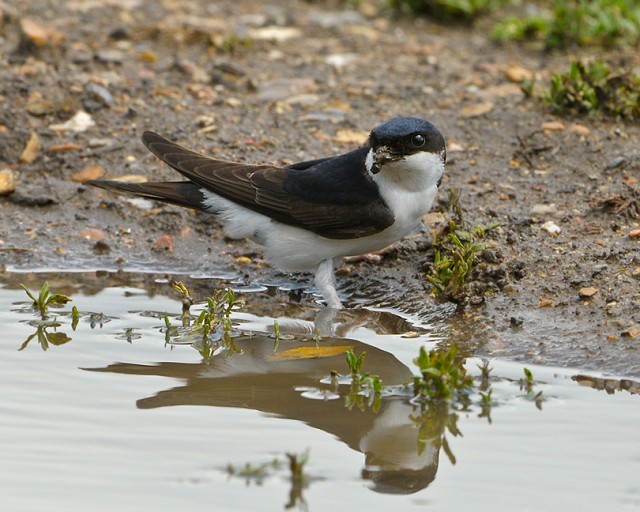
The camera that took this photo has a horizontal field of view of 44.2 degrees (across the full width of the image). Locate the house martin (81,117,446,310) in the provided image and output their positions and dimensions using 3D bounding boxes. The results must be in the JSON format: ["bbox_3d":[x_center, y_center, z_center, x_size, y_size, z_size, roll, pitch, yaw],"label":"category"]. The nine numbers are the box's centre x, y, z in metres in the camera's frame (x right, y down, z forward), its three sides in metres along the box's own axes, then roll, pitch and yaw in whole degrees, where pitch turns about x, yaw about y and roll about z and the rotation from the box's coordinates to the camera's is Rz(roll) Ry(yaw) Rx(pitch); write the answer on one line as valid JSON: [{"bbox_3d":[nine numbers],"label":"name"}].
[{"bbox_3d":[-0.229,-0.483,5.828,1.927,1.377,0.928,21,55,4],"label":"house martin"}]
